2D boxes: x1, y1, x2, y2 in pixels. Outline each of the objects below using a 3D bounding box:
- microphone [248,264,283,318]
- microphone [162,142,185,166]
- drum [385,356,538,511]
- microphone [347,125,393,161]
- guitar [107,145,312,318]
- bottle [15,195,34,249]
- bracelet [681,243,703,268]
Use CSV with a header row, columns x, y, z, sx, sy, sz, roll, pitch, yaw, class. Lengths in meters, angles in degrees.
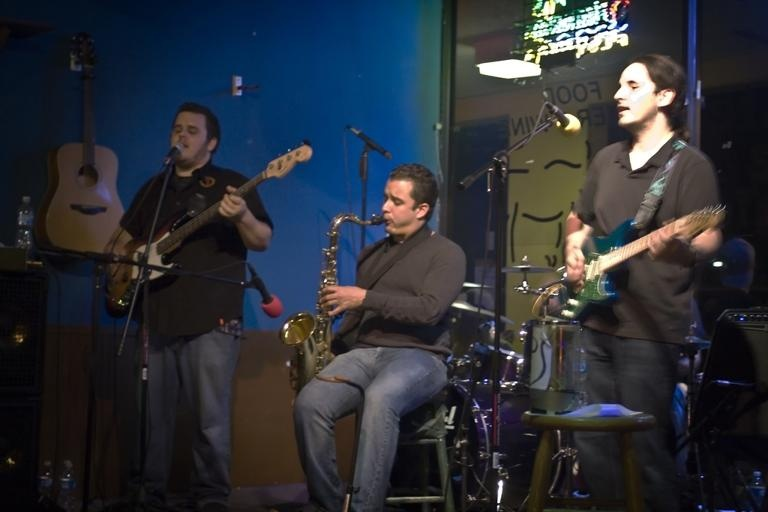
x,y,z,sx,sy,sz,roll,pitch,yaw,class
-0.878,0.265,5.124,0.109,0.115,0.414,-5,-39,20,microphone
-1.308,-0.626,4.363,0.103,0.170,0.227,2,-10,-17,microphone
0.504,1.320,4.742,0.919,1.022,0.940,21,-18,-2,drum
-0.132,-0.897,5.567,0.437,0.100,0.115,41,-32,-7,microphone
-1.182,-0.139,4.452,1.115,1.002,0.477,2,-10,-14,guitar
-2.396,-0.219,4.700,0.100,0.329,0.147,4,-11,-28,bottle
1.575,0.001,3.615,0.088,0.129,0.064,-13,0,-1,bracelet
